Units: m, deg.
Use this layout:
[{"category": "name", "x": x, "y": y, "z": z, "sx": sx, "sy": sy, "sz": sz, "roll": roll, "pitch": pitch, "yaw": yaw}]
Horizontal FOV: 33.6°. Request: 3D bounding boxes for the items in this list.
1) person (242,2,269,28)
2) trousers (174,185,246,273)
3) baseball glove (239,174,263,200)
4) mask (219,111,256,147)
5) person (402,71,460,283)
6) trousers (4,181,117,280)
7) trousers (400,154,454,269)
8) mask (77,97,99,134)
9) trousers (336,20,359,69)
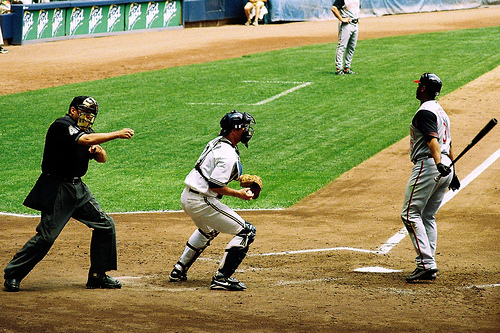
[{"category": "person", "x": 0.088, "y": -6.391, "z": 35.240, "sx": 0.963, "sy": 1.035, "sz": 1.302, "roll": -6, "pitch": 11, "yaw": -37}, {"category": "trousers", "x": -0.628, "y": 1.024, "z": 13.404, "sx": 1.174, "sy": 1.461, "sz": 0.314, "roll": 4, "pitch": 10, "yaw": 17}, {"category": "baseball glove", "x": 0.049, "y": 0.312, "z": 13.550, "sx": 0.341, "sy": 0.415, "sz": 0.231, "roll": -8, "pitch": 11, "yaw": 2}, {"category": "mask", "x": -0.088, "y": -0.679, "z": 13.551, "sx": 0.640, "sy": 0.580, "sz": 0.513, "roll": -25, "pitch": 19, "yaw": -9}, {"category": "person", "x": 2.975, "y": 0.171, "z": 13.692, "sx": 0.807, "sy": 3.352, "sz": 0.921, "roll": 3, "pitch": 10, "yaw": 13}, {"category": "trousers", "x": -2.944, "y": 1.002, "z": 13.224, "sx": 1.619, "sy": 1.515, "sz": 0.404, "roll": 0, "pitch": 10, "yaw": -8}, {"category": "trousers", "x": 2.944, "y": 0.699, "z": 13.986, "sx": 0.934, "sy": 1.790, "sz": 0.886, "roll": 1, "pitch": 0, "yaw": 13}, {"category": "mask", "x": -2.607, "y": -0.815, "z": 13.289, "sx": 0.304, "sy": 0.574, "sz": 0.434, "roll": 1, "pitch": 9, "yaw": -1}, {"category": "trousers", "x": 2.776, "y": -3.416, "z": 23.616, "sx": 0.567, "sy": 1.335, "sz": 1.036, "roll": 2, "pitch": 9, "yaw": 5}]
